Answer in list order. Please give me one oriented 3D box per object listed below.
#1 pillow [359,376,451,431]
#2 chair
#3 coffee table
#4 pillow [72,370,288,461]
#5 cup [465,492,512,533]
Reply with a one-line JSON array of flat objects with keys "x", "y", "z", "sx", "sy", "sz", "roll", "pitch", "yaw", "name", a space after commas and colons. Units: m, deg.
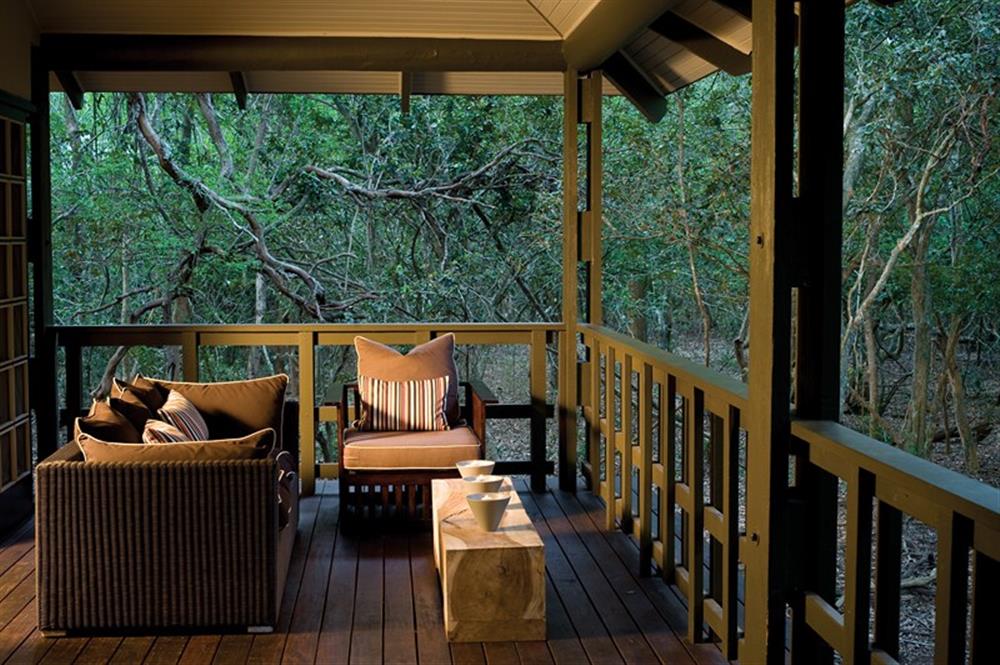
[{"x": -0.682, "y": 0.500, "z": 5.577, "sx": 0.589, "sy": 0.389, "sz": 0.144, "roll": 1, "pitch": 8, "yaw": -8, "name": "pillow"}, {"x": -0.642, "y": 0.854, "z": 5.655, "sx": 0.972, "sy": 0.844, "sz": 0.993, "roll": 0, "pitch": -4, "yaw": -9, "name": "chair"}, {"x": -0.092, "y": 1.320, "z": 4.670, "sx": 0.523, "sy": 0.483, "sz": 1.406, "roll": -1, "pitch": -2, "yaw": -8, "name": "coffee table"}, {"x": -1.771, "y": 0.482, "z": 4.483, "sx": 0.745, "sy": 0.252, "sz": 0.724, "roll": 1, "pitch": 12, "yaw": -21, "name": "pillow"}, {"x": -0.057, "y": 0.919, "z": 4.147, "sx": 0.196, "sy": 0.152, "sz": 0.198, "roll": -1, "pitch": -3, "yaw": 0, "name": "cup"}]
